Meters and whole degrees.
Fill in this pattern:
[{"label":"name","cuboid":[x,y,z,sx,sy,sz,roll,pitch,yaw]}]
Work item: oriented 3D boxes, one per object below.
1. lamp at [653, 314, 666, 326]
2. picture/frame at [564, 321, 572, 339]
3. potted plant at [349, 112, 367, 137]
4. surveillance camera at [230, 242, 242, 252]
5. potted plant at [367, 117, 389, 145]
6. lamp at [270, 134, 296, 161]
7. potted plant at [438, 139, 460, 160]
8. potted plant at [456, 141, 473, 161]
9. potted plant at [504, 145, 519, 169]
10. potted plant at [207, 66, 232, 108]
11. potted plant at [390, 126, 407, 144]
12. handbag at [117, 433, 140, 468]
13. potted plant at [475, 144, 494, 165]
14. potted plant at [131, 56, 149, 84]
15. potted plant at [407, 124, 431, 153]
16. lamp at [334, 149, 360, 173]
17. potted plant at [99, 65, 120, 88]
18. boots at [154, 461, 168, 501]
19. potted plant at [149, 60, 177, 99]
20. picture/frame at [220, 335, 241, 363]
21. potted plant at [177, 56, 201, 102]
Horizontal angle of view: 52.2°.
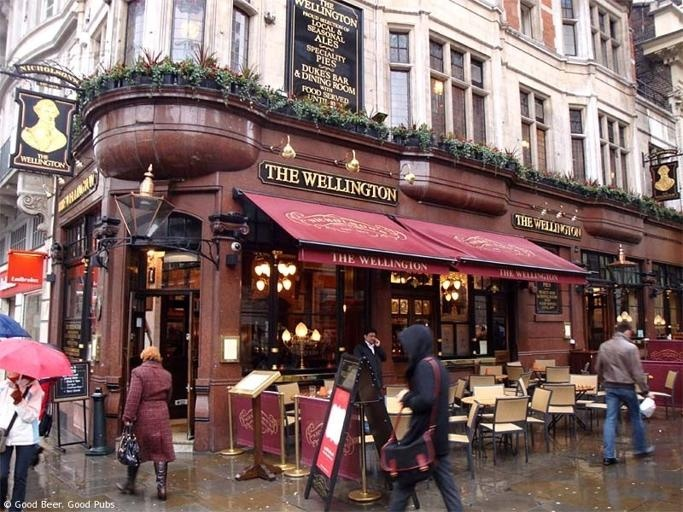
[{"label":"lamp","cuboid":[12.401,2.528,27.155,0.534,0.557,0.230,-1,-2,-7]},{"label":"picture/frame","cuboid":[7.454,2.415,22.953,0.390,0.567,0.099,8,-13,-41]},{"label":"potted plant","cuboid":[0.453,-3.377,18.047,0.456,0.510,0.279,-1,5,-11]},{"label":"surveillance camera","cuboid":[-2.412,-0.198,16.034,0.228,0.222,0.076,-2,1,-37]},{"label":"potted plant","cuboid":[0.932,-3.334,18.454,0.604,0.521,0.685,3,-4,-10]},{"label":"lamp","cuboid":[-1.290,-2.536,16.613,0.360,0.508,0.896,1,0,-21]},{"label":"potted plant","cuboid":[3.020,-2.972,19.288,0.696,0.543,0.221,5,-11,-31]},{"label":"potted plant","cuboid":[3.481,-2.932,19.529,0.362,0.468,0.524,-12,-18,30]},{"label":"potted plant","cuboid":[5.121,-2.964,21.059,0.352,0.748,0.958,-5,-11,28]},{"label":"potted plant","cuboid":[-2.733,-3.881,15.863,0.555,0.832,0.193,7,-12,-37]},{"label":"potted plant","cuboid":[1.530,-3.237,18.936,0.445,0.473,0.428,0,-3,-12]},{"label":"handbag","cuboid":[-3.915,3.545,12.881,0.402,0.592,0.234,2,-10,-16]},{"label":"potted plant","cuboid":[4.114,-2.885,20.041,0.909,0.521,0.171,7,-12,-37]},{"label":"potted plant","cuboid":[-4.485,-4.172,15.717,0.416,0.681,0.258,-8,-12,39]},{"label":"potted plant","cuboid":[2.178,-3.172,18.847,0.623,0.707,0.311,-5,1,22]},{"label":"lamp","cuboid":[0.250,-2.367,17.523,0.425,0.548,0.759,1,10,-30]},{"label":"potted plant","cuboid":[-5.211,-4.108,15.876,0.522,0.271,0.526,-3,-11,2]},{"label":"boots","cuboid":[-3.374,4.186,13.098,0.226,0.666,0.508,2,-10,-15]},{"label":"potted plant","cuboid":[-3.959,-4.020,15.940,0.692,0.769,0.646,-1,0,-27]},{"label":"picture/frame","cuboid":[-2.522,2.096,15.763,0.626,0.805,0.058,2,-5,-34]},{"label":"potted plant","cuboid":[-3.415,-3.944,15.711,0.478,0.849,0.201,3,-10,-21]}]
